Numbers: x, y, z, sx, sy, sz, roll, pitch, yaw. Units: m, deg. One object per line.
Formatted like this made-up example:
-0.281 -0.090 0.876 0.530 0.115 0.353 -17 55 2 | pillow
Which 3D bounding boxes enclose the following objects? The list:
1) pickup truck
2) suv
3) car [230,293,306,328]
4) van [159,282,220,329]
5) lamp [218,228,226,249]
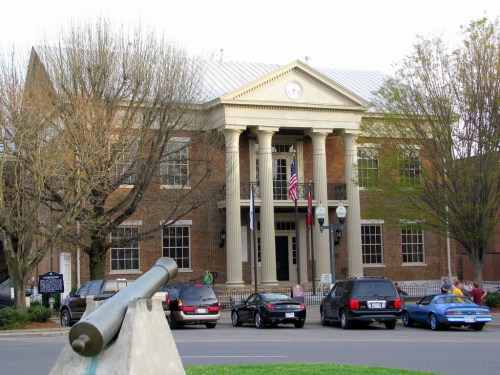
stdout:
-6.750 4.893 26.396 3.498 1.939 1.281 -8 -11 39 | pickup truck
4.293 4.677 25.899 1.649 1.535 3.255 2 -3 -13 | suv
0.553 5.138 26.258 1.361 0.964 2.814 3 -6 -19 | car
-2.307 4.889 25.753 1.625 1.467 3.218 1 -3 -18 | van
-1.737 3.195 38.860 0.365 1.256 0.821 1 -8 -11 | lamp
